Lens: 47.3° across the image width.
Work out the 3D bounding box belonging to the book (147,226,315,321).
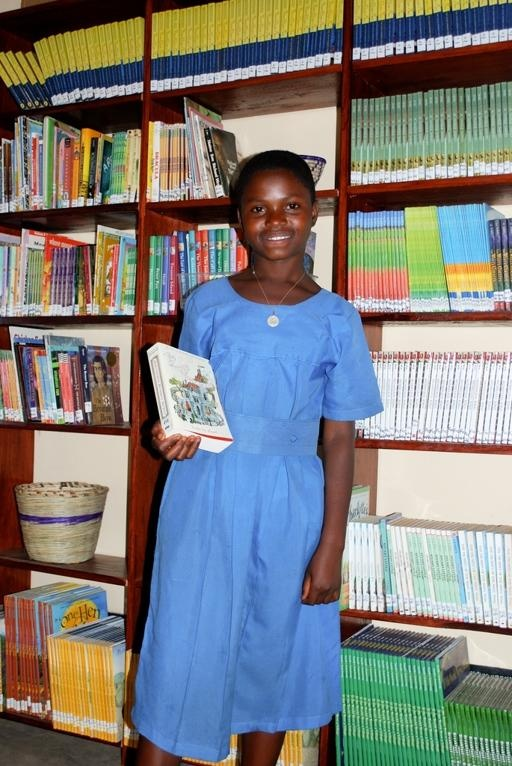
[{"bbox_3d":[-0.205,-0.304,1.838,0.425,0.319,0.104,2,1,13],"label":"book"}]

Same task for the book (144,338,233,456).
[{"bbox_3d":[-0.114,0.023,0.965,0.035,0.194,0.210,-26,24,25],"label":"book"}]

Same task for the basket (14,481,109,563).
[{"bbox_3d":[-0.691,0.501,2.107,0.287,0.233,0.281,2,-3,-15],"label":"basket"}]

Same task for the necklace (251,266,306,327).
[{"bbox_3d":[0.040,-0.154,1.072,0.127,0.169,0.013,1,-31,9],"label":"necklace"}]
